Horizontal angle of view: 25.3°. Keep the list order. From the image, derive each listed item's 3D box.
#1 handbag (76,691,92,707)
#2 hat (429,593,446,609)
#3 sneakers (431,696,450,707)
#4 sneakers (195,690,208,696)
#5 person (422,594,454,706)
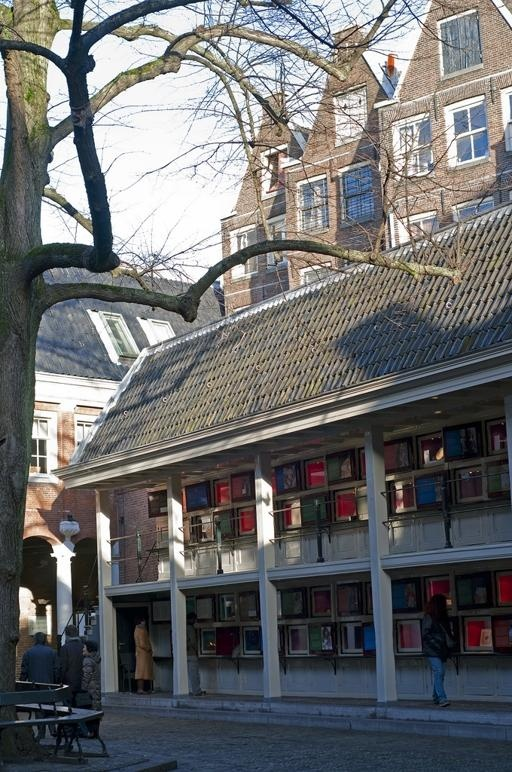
[{"bbox_3d":[-2.175,3.916,14.355,0.175,0.244,0.253,-2,-12,13],"label":"handbag"},{"bbox_3d":[2.528,3.010,15.920,0.209,0.202,0.154,2,-3,23],"label":"hat"},{"bbox_3d":[2.513,4.328,15.564,0.092,0.119,0.278,6,-8,-42],"label":"sneakers"},{"bbox_3d":[-1.099,5.911,21.840,0.118,0.138,0.351,-2,-20,9],"label":"sneakers"},{"bbox_3d":[2.517,3.645,15.696,0.380,1.487,0.463,-7,-12,13],"label":"person"}]
